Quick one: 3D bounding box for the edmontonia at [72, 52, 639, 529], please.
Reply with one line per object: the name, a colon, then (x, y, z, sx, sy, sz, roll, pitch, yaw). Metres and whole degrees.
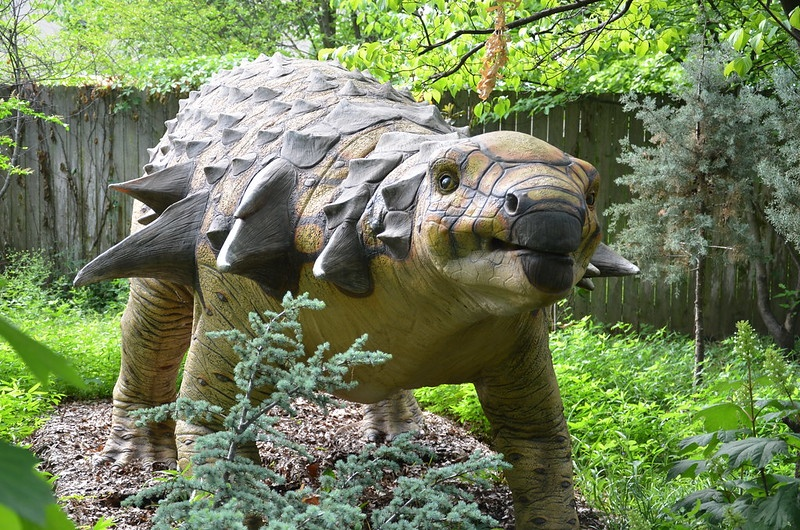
edmontonia: (-0.343, 0.019, 5.417, 2.998, 2.332, 3.329, 5, -4, -40)

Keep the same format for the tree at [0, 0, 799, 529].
tree: (-0.333, -0.053, 5.582, 3.322, 2.490, 3.575, 3, -1, -42)
